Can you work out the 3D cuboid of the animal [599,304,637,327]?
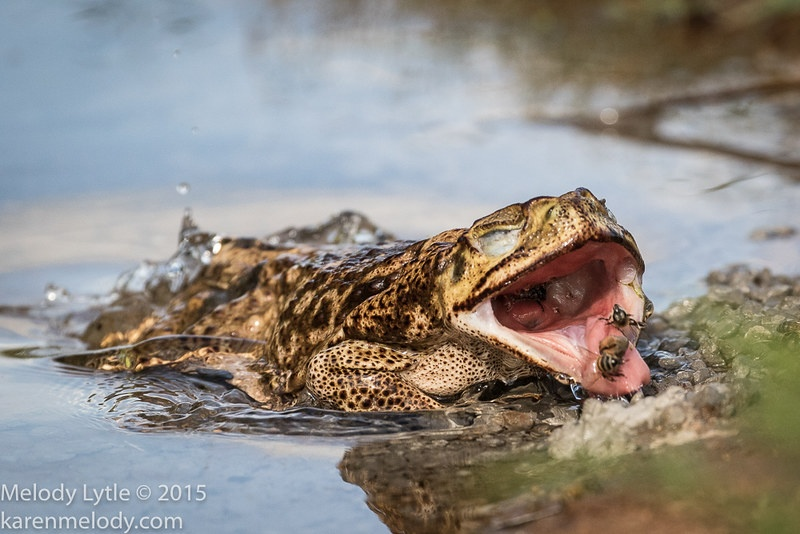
[{"bbox_3d":[1.540,0.387,6.531,0.213,0.069,0.165,-20,59,-40],"label":"animal"}]
